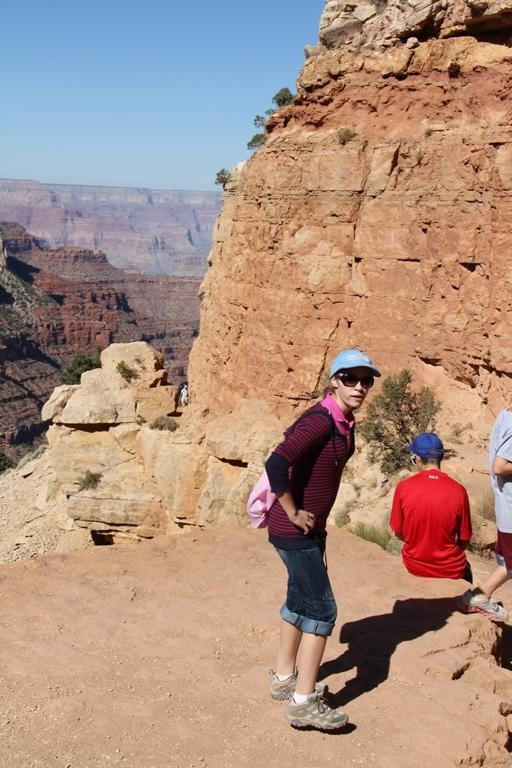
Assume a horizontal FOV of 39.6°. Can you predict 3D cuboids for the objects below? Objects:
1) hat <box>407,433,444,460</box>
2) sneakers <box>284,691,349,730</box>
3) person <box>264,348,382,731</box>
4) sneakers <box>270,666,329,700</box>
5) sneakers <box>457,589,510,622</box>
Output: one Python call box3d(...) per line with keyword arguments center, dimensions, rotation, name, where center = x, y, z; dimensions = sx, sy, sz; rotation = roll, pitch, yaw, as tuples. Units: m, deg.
box3d(center=(1.186, 0.420, 4.946), dimensions=(0.203, 0.188, 0.255), rotation=(-2, 2, 9), name="hat")
box3d(center=(0.303, 1.689, 3.644), dimensions=(0.362, 0.185, 0.155), rotation=(2, -2, 6), name="sneakers")
box3d(center=(0.361, 0.809, 3.726), dimensions=(0.626, 1.964, 0.556), rotation=(-2, 3, 0), name="person")
box3d(center=(0.233, 1.677, 3.951), dimensions=(0.385, 0.184, 0.135), rotation=(-1, 6, -6), name="sneakers")
box3d(center=(1.560, 1.498, 4.857), dimensions=(0.352, 0.150, 0.160), rotation=(23, 27, 0), name="sneakers")
